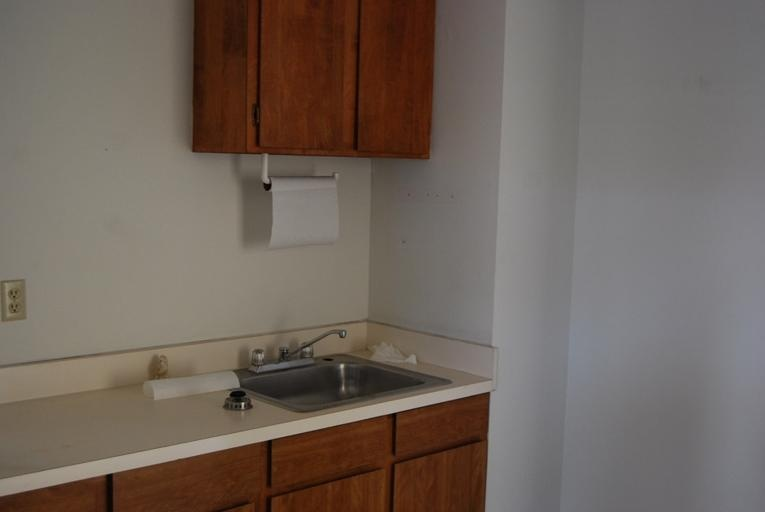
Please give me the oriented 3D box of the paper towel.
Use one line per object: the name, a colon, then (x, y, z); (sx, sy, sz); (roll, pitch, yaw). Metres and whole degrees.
paper towel: (-0.337, -0.185, 2.627); (0.291, 0.278, 0.084); (-3, 1, -39)
